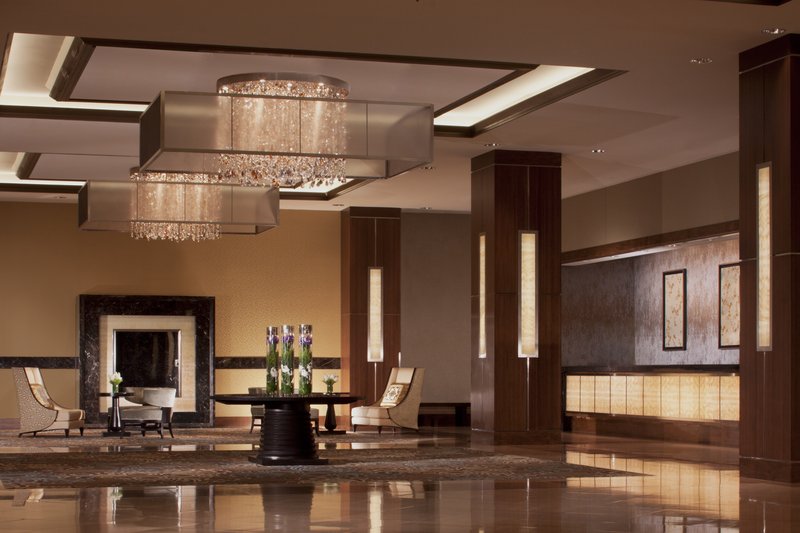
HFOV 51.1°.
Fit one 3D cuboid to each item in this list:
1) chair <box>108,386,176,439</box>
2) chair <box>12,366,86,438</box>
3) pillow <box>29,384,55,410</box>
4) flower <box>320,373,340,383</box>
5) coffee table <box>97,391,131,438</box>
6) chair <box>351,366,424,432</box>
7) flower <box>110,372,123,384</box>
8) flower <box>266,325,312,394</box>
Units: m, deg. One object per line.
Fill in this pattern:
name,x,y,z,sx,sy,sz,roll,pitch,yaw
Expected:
chair,-4.703,2.773,15.875,1.007,0.875,0.949,-3,-5,24
chair,-6.469,2.506,15.521,1.133,1.196,0.955,4,-7,-10
pillow,-6.522,2.396,15.302,0.144,0.464,0.363,-22,-8,19
flower,-1.419,2.317,17.346,0.360,0.138,0.359,2,-10,-17
coffee table,-5.372,2.821,15.908,0.616,0.737,0.630,-8,-6,37
chair,-0.213,2.605,16.427,1.355,1.219,1.300,-1,-7,11
flower,-5.434,2.161,16.200,0.272,0.265,0.275,4,-12,-37
flower,-1.519,1.278,11.497,0.600,0.955,0.852,1,-6,-9
